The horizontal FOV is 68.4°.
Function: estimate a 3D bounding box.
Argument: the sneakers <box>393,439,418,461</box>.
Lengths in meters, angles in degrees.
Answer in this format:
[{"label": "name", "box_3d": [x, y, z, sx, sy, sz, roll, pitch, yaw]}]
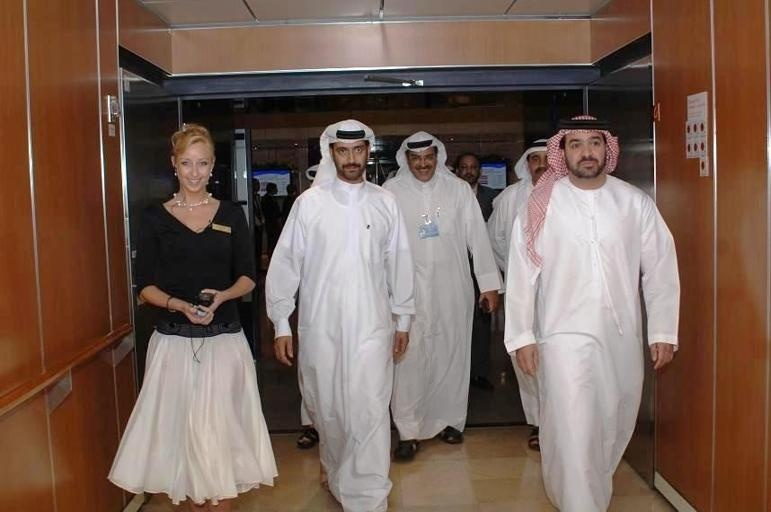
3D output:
[{"label": "sneakers", "box_3d": [0.142, 1.504, 4.378, 0.082, 0.100, 0.248, -7, -13, 39]}]

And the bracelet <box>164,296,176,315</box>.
[{"label": "bracelet", "box_3d": [-1.265, 0.288, 3.325, 0.044, 0.098, 0.075, -5, 11, -24]}]

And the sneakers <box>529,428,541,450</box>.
[{"label": "sneakers", "box_3d": [1.178, 1.449, 4.552, 0.085, 0.110, 0.259, 0, 9, 5]}]
